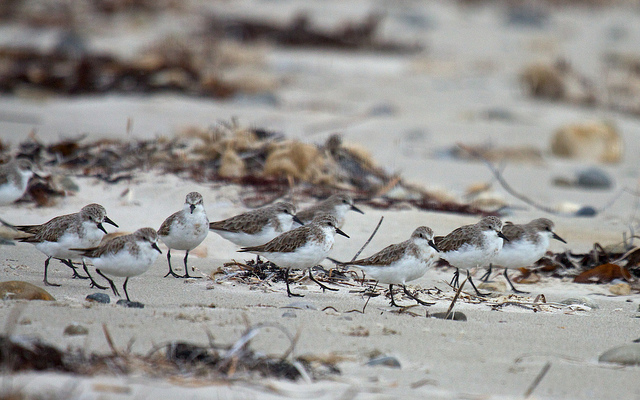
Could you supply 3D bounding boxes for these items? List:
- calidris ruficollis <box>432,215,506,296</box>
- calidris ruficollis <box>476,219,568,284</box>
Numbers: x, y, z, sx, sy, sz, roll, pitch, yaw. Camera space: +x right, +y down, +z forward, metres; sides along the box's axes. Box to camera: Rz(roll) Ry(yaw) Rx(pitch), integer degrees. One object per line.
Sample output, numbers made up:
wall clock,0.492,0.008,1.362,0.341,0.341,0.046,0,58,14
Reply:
calidris ruficollis,2.010,0.710,10.355,0.699,1.048,1.391,-2,9,-35
calidris ruficollis,2.748,0.708,10.528,1.420,0.952,0.718,6,-1,26
